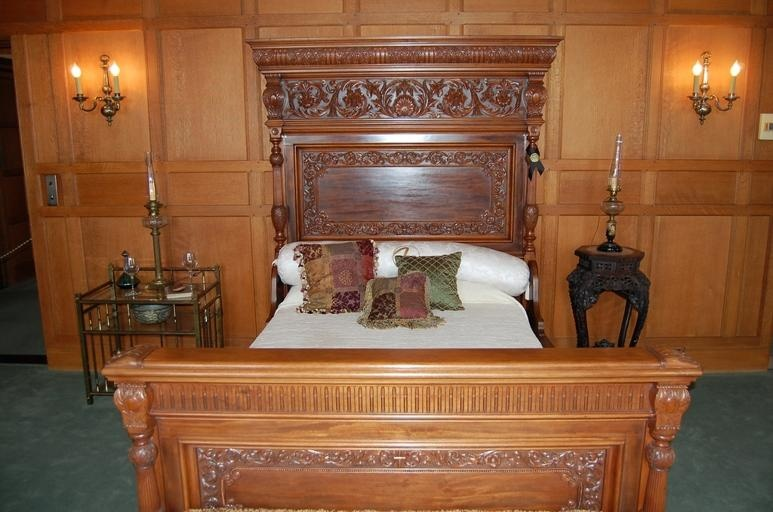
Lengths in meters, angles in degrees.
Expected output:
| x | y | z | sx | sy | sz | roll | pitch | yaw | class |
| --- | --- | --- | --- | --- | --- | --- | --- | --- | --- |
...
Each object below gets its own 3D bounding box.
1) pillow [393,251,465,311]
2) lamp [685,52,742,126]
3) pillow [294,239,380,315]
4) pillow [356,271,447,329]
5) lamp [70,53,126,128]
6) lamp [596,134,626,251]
| x | y | z | sx | sy | sz | roll | pitch | yaw | class |
| --- | --- | --- | --- | --- | --- | --- | --- | --- | --- |
| 0.336 | 0.215 | 4.898 | 0.535 | 0.419 | 0.180 | 1 | -23 | -4 | pillow |
| 2.984 | -1.531 | 5.624 | 0.426 | 0.645 | 0.212 | 2 | 13 | 14 | lamp |
| -0.415 | 0.169 | 4.997 | 0.669 | 0.538 | 0.180 | -3 | -9 | -13 | pillow |
| 0.136 | 0.313 | 4.811 | 0.691 | 0.559 | 0.169 | 12 | -15 | 37 | pillow |
| -2.663 | -1.559 | 5.696 | 0.674 | 0.697 | 0.328 | -2 | 25 | -13 | lamp |
| 2.038 | -0.577 | 5.535 | 0.184 | 1.014 | 0.586 | 3 | 13 | 20 | lamp |
